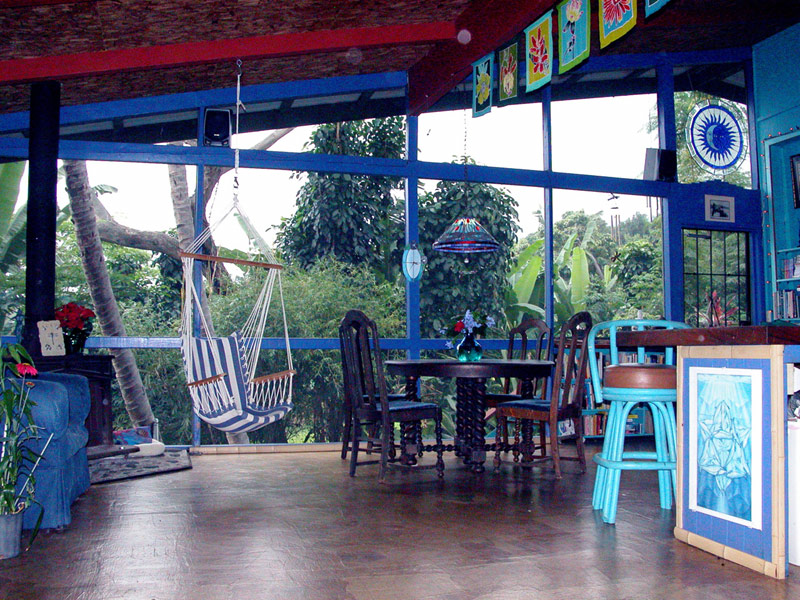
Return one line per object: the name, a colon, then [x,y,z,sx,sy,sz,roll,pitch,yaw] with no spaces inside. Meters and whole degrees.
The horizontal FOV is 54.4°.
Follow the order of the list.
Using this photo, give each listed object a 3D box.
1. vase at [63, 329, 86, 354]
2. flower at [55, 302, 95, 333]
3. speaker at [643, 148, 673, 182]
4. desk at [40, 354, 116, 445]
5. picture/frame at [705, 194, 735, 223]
vase: [-2.550,0.318,6.103,0.157,0.139,0.151,3,-7,-25]
flower: [-2.585,0.123,6.198,0.324,0.230,0.252,-2,3,-45]
speaker: [2.721,-1.431,8.170,0.322,0.373,0.219,1,2,17]
desk: [-2.504,0.811,6.081,0.506,0.924,0.434,-5,10,-19]
picture/frame: [3.376,-0.984,8.283,0.273,0.267,0.022,2,-2,-17]
